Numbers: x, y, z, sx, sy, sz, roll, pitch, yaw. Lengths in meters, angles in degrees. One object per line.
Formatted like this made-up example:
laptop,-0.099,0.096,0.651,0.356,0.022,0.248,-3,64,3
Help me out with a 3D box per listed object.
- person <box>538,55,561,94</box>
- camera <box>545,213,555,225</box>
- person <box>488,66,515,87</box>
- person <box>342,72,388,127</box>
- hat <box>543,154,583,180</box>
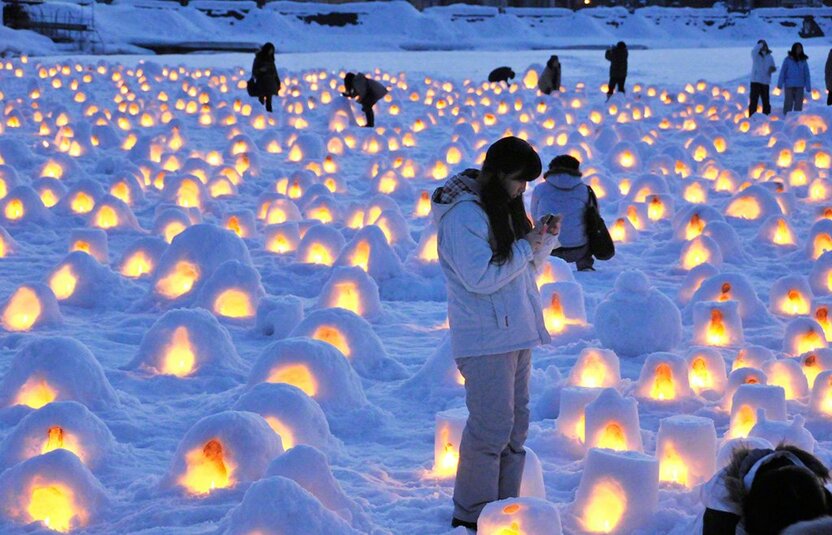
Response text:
person,3.231,-4.487,25.884,0.461,0.846,0.910,3,3,-10
camera,1.477,-0.522,11.946,0.083,0.092,0.098,13,24,31
person,2.199,-4.963,28.386,0.836,0.494,0.396,-4,28,-10
person,-1.226,-3.705,24.679,0.915,1.222,2.330,3,3,-7
hat,2.228,-1.497,16.337,0.356,0.345,0.455,3,14,9
